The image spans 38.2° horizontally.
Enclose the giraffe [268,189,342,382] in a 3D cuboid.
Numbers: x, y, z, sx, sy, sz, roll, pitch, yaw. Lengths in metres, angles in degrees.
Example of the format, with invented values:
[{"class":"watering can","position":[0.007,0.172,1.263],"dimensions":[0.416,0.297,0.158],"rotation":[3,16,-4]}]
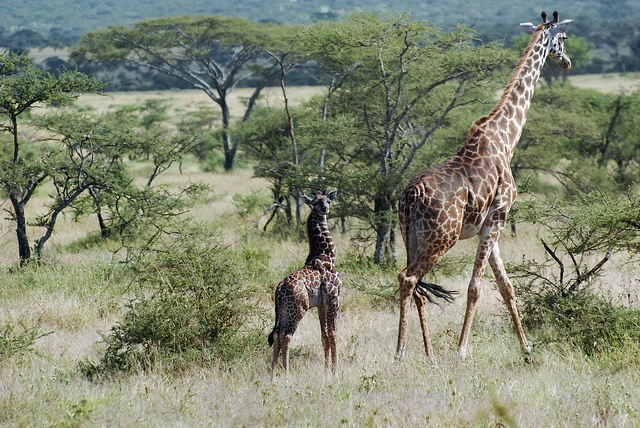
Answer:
[{"class":"giraffe","position":[-0.474,2.416,32.247],"dimensions":[2.264,5.564,2.350],"rotation":[-2,20,-4]}]

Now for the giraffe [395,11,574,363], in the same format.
[{"class":"giraffe","position":[5.328,-1.147,32.787],"dimensions":[2.721,10.864,7.752],"rotation":[17,27,40]}]
